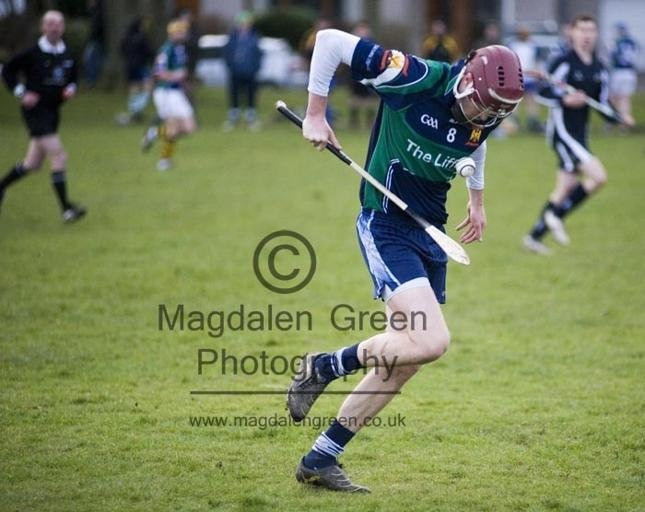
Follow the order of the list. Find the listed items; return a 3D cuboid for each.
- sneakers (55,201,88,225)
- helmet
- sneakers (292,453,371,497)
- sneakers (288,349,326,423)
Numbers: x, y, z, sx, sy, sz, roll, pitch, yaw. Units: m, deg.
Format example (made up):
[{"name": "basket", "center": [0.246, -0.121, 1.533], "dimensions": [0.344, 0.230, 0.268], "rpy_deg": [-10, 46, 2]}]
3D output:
[{"name": "sneakers", "center": [-1.871, -0.304, 7.890], "dimensions": [0.076, 0.104, 0.236], "rpy_deg": [7, 18, 18]}, {"name": "helmet", "center": [1.038, -1.050, 6.724], "dimensions": [0.381, 0.513, 0.468], "rpy_deg": [39, 28, 25]}, {"name": "sneakers", "center": [0.036, 1.423, 6.909], "dimensions": [0.538, 0.252, 0.187], "rpy_deg": [10, -8, 3]}, {"name": "sneakers", "center": [-0.123, 0.857, 6.871], "dimensions": [0.172, 0.506, 0.214], "rpy_deg": [11, 13, -35]}]
